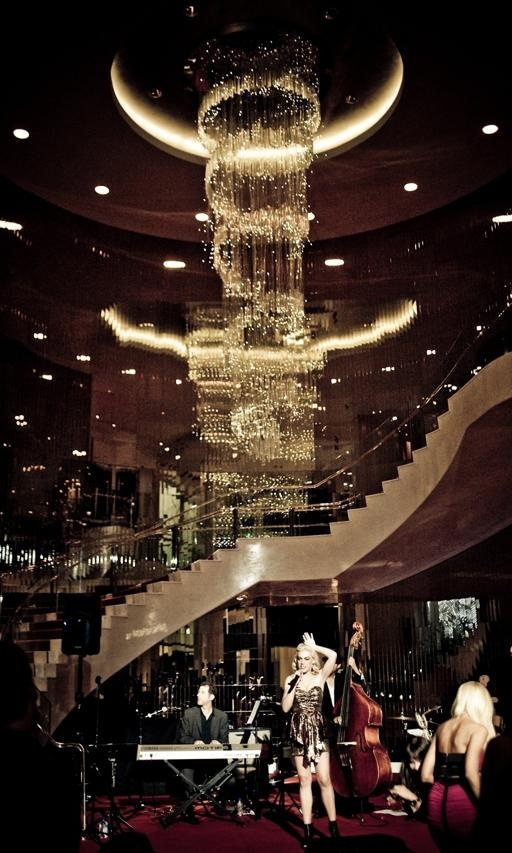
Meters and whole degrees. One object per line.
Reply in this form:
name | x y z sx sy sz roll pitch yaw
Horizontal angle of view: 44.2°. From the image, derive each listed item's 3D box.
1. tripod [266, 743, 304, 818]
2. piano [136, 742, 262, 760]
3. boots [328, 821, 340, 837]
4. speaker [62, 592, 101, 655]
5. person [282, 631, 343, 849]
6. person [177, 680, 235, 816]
tripod | 0.277 3.906 6.993 0.461 0.688 0.423 17 -33 -35
piano | -0.469 2.685 5.199 1.003 0.141 0.301 0 -16 -2
boots | 0.571 2.953 4.642 0.061 0.138 0.187 -2 -16 3
speaker | -1.771 1.945 6.439 0.420 0.773 0.412 4 15 -6
person | 0.451 2.549 5.237 0.461 1.547 1.182 -2 -15 6
person | -0.504 3.059 5.931 0.449 1.167 1.287 1 -16 -6
